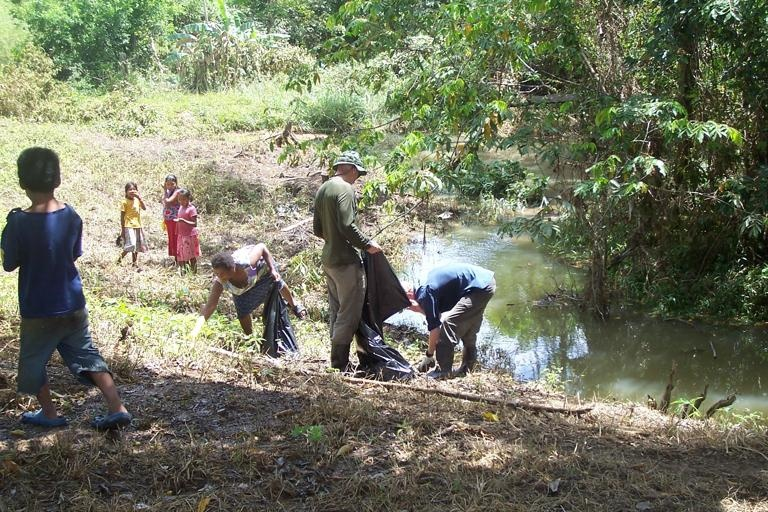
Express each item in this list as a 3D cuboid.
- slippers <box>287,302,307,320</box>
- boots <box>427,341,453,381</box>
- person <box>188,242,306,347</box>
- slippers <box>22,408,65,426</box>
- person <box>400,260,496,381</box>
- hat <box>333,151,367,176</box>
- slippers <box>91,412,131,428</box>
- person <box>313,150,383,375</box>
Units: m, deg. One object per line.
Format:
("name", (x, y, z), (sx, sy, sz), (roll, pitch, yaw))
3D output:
("slippers", (-1.192, 0.741, 10.001), (0.179, 0.153, 0.456), (33, -4, -17))
("boots", (0.733, 1.370, 9.503), (0.273, 0.501, 0.307), (-20, 36, -39))
("person", (-1.668, 0.561, 9.329), (1.184, 1.412, 0.672), (2, 5, -15))
("slippers", (-3.424, 1.648, 7.410), (0.446, 0.190, 0.173), (9, -8, 2))
("person", (0.792, 0.868, 9.977), (1.495, 1.658, 1.123), (0, -11, 13))
("hat", (-0.382, -1.115, 9.099), (0.309, 0.214, 0.382), (8, 4, 18))
("slippers", (-2.703, 1.637, 7.342), (0.444, 0.191, 0.163), (-7, -11, 7))
("person", (-0.488, 0.080, 9.069), (0.846, 2.739, 0.518), (4, 5, 10))
